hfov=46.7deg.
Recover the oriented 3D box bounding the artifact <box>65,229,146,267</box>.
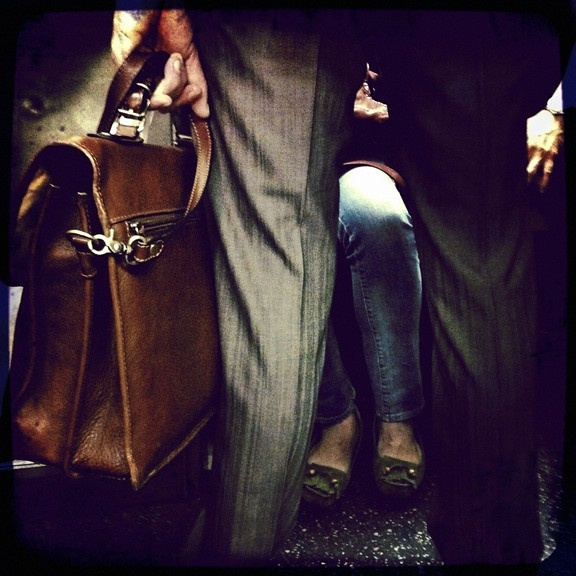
[{"bbox_3d":[-0.204,-0.042,0.720,0.070,0.042,0.025,-9,11,-20],"label":"artifact"}]

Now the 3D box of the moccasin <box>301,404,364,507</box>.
[{"bbox_3d":[0.067,0.234,0.954,0.058,0.043,0.158,9,50,23],"label":"moccasin"}]

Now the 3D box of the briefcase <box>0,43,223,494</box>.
[{"bbox_3d":[-0.190,-0.022,0.761,0.251,0.456,0.206,-5,24,-26],"label":"briefcase"}]
